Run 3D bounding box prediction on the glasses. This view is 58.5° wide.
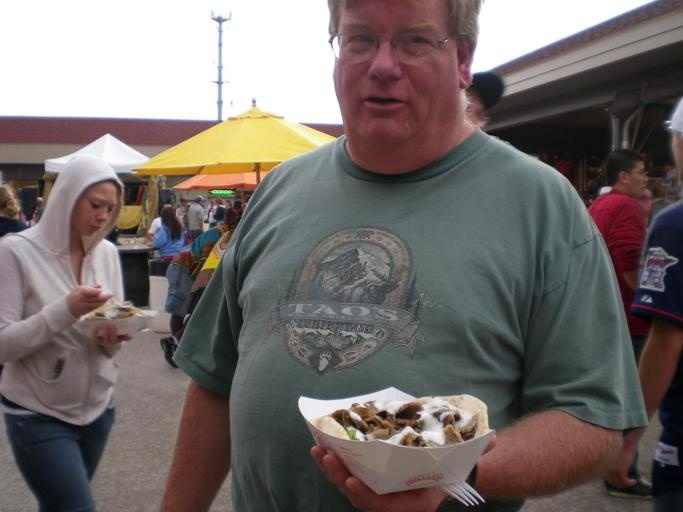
[{"bbox_3d":[0.144,-0.719,2.098,0.425,0.132,0.110,4,8,23],"label":"glasses"}]
